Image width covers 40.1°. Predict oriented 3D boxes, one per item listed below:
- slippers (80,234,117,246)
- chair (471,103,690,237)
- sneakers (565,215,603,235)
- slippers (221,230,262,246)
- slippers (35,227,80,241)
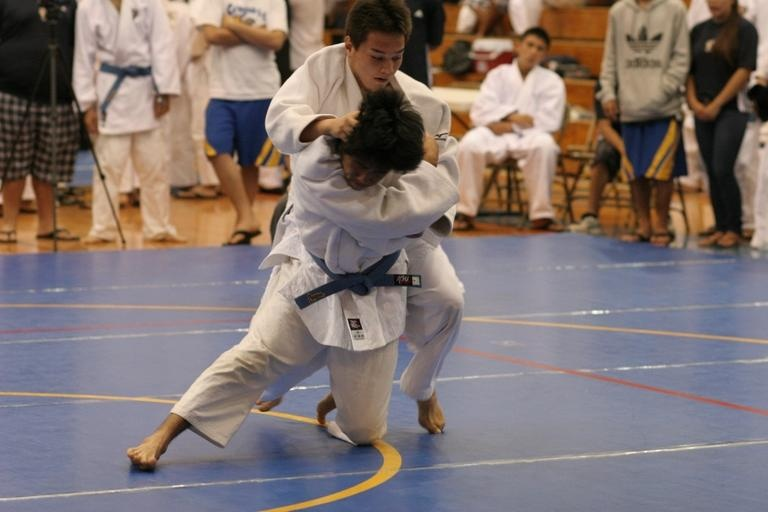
[{"bbox_3d":[-2.316,-0.127,8.523,0.245,0.096,0.073,9,31,-24],"label":"slippers"},{"bbox_3d":[1.787,-0.793,9.403,1.285,0.844,0.520,13,4,38],"label":"chair"},{"bbox_3d":[1.854,-0.279,9.748,0.260,0.167,0.085,-1,-37,-2],"label":"sneakers"},{"bbox_3d":[-1.182,-0.147,8.672,0.340,0.070,0.115,-5,4,-17],"label":"slippers"},{"bbox_3d":[-2.609,-0.172,8.393,0.315,0.088,0.123,-2,4,6],"label":"slippers"}]
